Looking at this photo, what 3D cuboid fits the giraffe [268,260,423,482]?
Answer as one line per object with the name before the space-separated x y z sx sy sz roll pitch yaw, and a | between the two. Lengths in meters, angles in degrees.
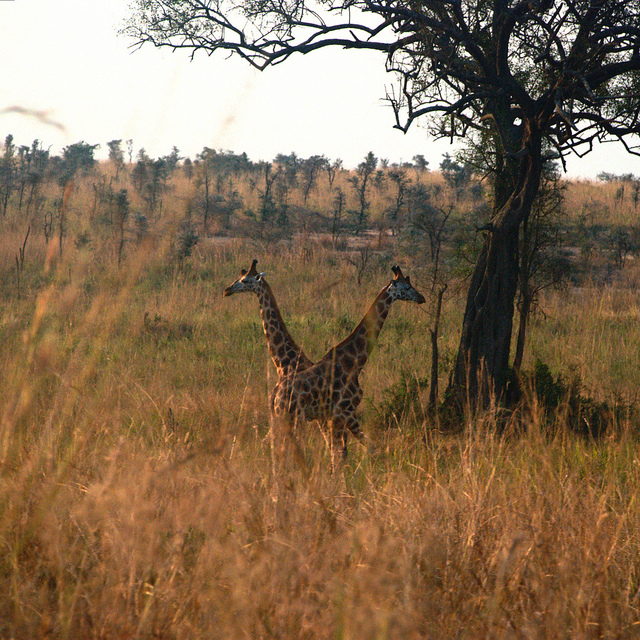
giraffe | 0.223 0.565 11.641 1.276 2.577 0.570 -7 38 -18
